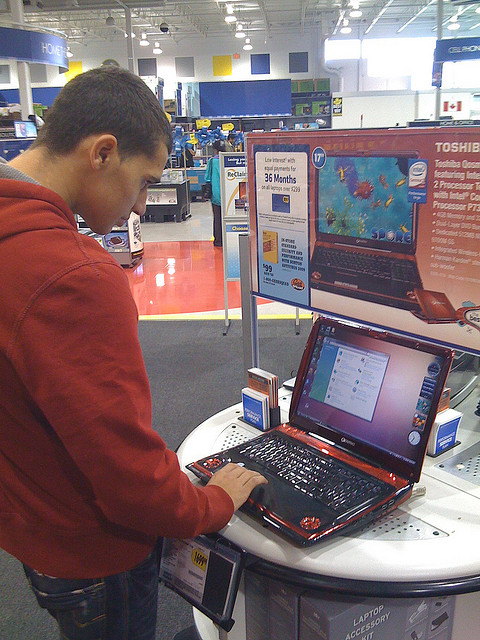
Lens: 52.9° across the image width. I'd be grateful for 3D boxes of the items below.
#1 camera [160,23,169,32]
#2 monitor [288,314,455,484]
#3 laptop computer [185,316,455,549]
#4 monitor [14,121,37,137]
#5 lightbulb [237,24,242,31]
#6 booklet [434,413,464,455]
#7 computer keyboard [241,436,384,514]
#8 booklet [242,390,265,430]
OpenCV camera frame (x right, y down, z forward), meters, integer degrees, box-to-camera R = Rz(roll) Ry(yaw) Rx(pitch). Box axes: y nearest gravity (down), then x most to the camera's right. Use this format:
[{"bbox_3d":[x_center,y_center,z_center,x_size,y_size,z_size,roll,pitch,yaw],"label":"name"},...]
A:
[{"bbox_3d":[-2.096,-8.109,13.368,0.210,0.269,0.561,-4,21,-7],"label":"camera"},{"bbox_3d":[0.375,0.181,1.202,0.328,0.303,0.421,-2,16,-43],"label":"monitor"},{"bbox_3d":[0.170,0.206,1.079,0.453,0.303,0.409,-12,14,-34],"label":"laptop computer"},{"bbox_3d":[-4.022,-3.619,9.192,0.307,0.266,0.694,4,21,14],"label":"monitor"},{"bbox_3d":[-0.011,-9.140,15.082,0.133,0.070,0.189,1,-7,-3],"label":"lightbulb"},{"bbox_3d":[0.498,0.275,1.170,0.072,0.097,0.029,-2,5,-41],"label":"booklet"},{"bbox_3d":[0.142,0.329,1.063,0.129,0.053,0.327,-16,25,-34],"label":"computer keyboard"},{"bbox_3d":[0.041,0.250,1.353,0.014,0.093,0.099,-15,18,-27],"label":"booklet"}]
